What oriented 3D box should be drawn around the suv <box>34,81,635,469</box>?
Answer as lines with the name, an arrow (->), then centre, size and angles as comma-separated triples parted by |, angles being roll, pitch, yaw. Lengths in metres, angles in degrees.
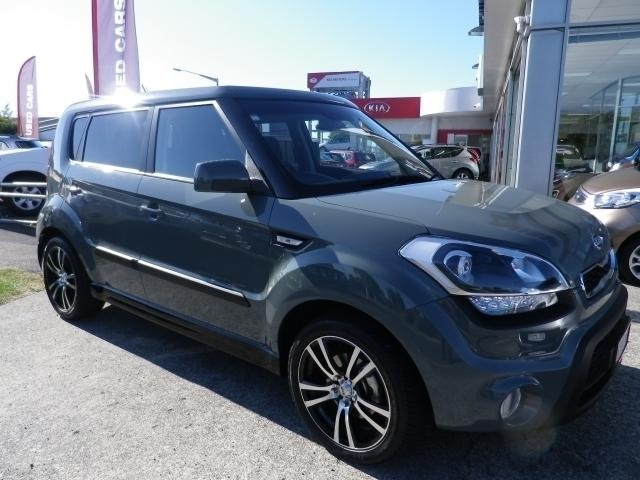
suv -> -0.359, -0.179, 3.547 | 4.776, 1.763, 2.299 | 7, 16, 32
